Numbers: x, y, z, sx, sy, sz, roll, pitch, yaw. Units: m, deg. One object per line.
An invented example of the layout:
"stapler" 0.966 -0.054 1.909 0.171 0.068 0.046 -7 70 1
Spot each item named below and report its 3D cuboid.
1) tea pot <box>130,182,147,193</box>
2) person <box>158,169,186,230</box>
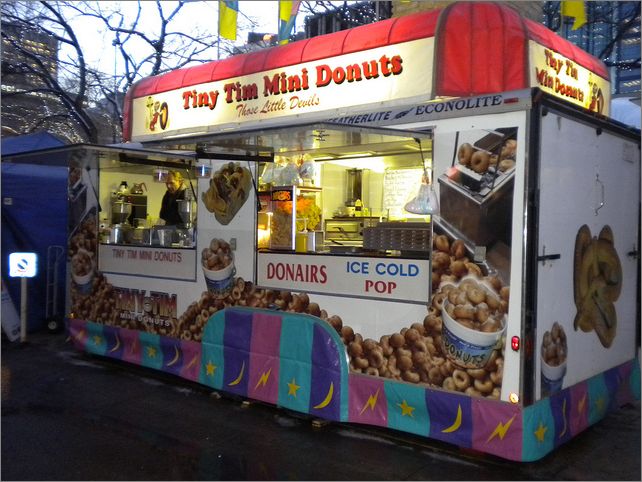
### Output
"tea pot" -3.272 -0.961 9.727 0.206 0.205 0.146 7 -2 -36
"person" -2.586 -0.692 9.402 0.457 1.244 0.427 6 7 39
